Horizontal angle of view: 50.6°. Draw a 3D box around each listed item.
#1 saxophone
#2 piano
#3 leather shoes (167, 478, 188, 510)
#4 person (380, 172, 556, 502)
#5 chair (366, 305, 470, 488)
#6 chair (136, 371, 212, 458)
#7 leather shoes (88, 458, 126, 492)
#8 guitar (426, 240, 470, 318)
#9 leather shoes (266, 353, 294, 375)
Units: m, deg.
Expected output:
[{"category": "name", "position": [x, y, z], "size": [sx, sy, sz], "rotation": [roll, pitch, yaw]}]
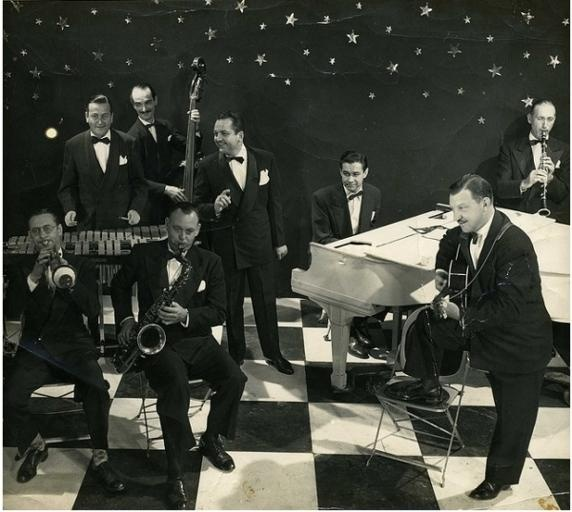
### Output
[{"category": "saxophone", "position": [-0.637, 0.271, 2.910], "size": [0.132, 0.434, 0.360], "rotation": [35, -3, -42]}, {"category": "piano", "position": [0.654, 0.126, 3.173], "size": [0.819, 0.529, 0.768], "rotation": [8, 14, 32]}, {"category": "leather shoes", "position": [-0.496, 1.101, 2.766], "size": [0.058, 0.072, 0.166], "rotation": [1, 19, -22]}, {"category": "person", "position": [0.918, 0.372, 3.072], "size": [0.714, 1.578, 0.495], "rotation": [9, 19, 36]}, {"category": "chair", "position": [0.685, 0.683, 3.025], "size": [0.387, 0.781, 0.505], "rotation": [8, 15, 38]}, {"category": "chair", "position": [-0.591, 0.786, 3.214], "size": [0.362, 0.641, 0.364], "rotation": [1, 16, 1]}, {"category": "leather shoes", "position": [-0.843, 1.037, 2.886], "size": [0.206, 0.094, 0.079], "rotation": [27, 28, 32]}, {"category": "guitar", "position": [0.746, 0.037, 2.931], "size": [0.188, 0.423, 0.075], "rotation": [-8, 22, -24]}, {"category": "leather shoes", "position": [-0.031, 0.610, 3.457], "size": [0.067, 0.091, 0.187], "rotation": [-29, 55, -37]}]
